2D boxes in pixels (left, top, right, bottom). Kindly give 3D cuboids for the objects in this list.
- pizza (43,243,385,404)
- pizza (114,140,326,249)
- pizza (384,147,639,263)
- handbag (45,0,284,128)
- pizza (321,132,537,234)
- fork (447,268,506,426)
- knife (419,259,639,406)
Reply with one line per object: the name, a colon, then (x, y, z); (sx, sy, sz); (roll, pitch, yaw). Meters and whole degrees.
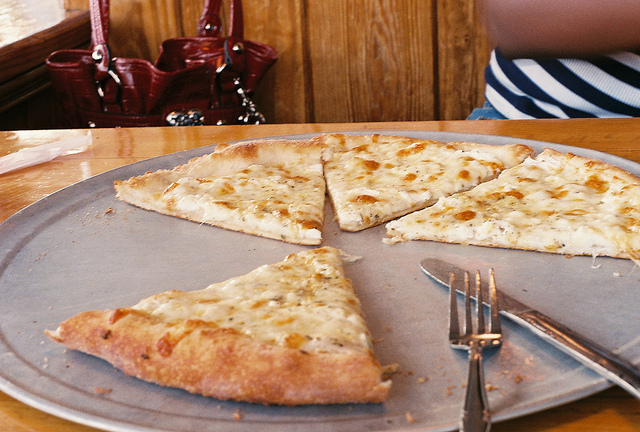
pizza: (-0.153, 0.177, 1.025); (0.577, 0.069, 0.383); (1, 26, 9)
pizza: (-0.248, -0.044, 1.480); (0.492, 0.057, 0.368); (2, 30, -2)
pizza: (0.513, -0.040, 1.336); (0.514, 0.087, 0.533); (12, 30, 28)
handbag: (-0.721, -0.626, 2.413); (1.072, 0.602, 0.451); (-6, 34, -2)
pizza: (0.267, -0.102, 1.592); (0.497, 0.043, 0.367); (-6, 26, -14)
fork: (0.266, 0.187, 0.927); (0.086, 0.029, 0.316); (0, 27, 12)
knife: (0.298, 0.137, 1.118); (0.095, 0.035, 0.720); (-32, 25, -8)
